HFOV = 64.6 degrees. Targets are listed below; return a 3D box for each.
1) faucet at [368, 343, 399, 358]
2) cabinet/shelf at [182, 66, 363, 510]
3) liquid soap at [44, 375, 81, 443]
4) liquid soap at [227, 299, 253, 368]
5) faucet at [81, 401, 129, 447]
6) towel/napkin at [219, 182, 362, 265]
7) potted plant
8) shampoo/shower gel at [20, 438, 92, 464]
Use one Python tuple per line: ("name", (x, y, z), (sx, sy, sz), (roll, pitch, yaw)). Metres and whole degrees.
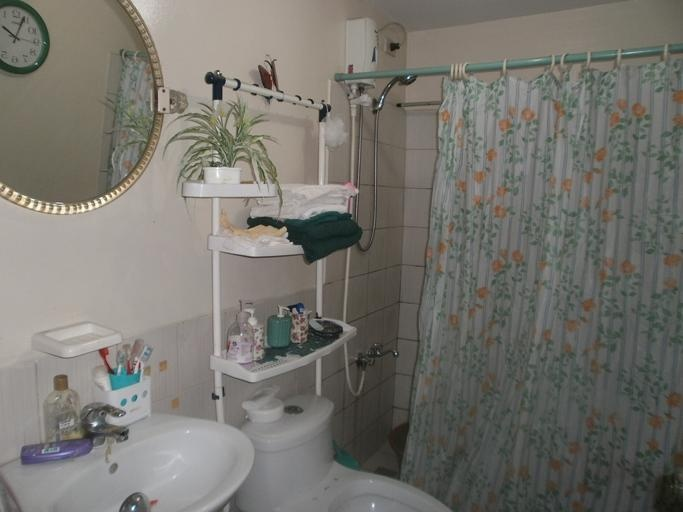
("faucet", (0.230, 0.547, 3.146), (0.195, 0.077, 0.115), (6, 4, 43))
("cabinet/shelf", (-0.422, 0.067, 2.213), (0.509, 2.041, 0.872), (6, 8, 34))
("liquid soap", (-0.889, 0.499, 1.711), (0.089, 0.256, 0.094), (3, 4, 36))
("liquid soap", (-0.412, 0.302, 2.157), (0.101, 0.247, 0.136), (4, 4, 36))
("faucet", (-0.757, 0.527, 1.755), (0.115, 0.133, 0.132), (13, 12, 32))
("towel/napkin", (-0.116, -0.156, 2.273), (0.593, 0.312, 0.894), (5, 7, 32))
("potted plant", (-0.444, -0.394, 2.062), (0.367, 0.360, 0.459), (16, 22, 39))
("shampoo/shower gel", (-0.877, 0.604, 1.662), (0.190, 0.060, 0.053), (-8, 14, -18))
